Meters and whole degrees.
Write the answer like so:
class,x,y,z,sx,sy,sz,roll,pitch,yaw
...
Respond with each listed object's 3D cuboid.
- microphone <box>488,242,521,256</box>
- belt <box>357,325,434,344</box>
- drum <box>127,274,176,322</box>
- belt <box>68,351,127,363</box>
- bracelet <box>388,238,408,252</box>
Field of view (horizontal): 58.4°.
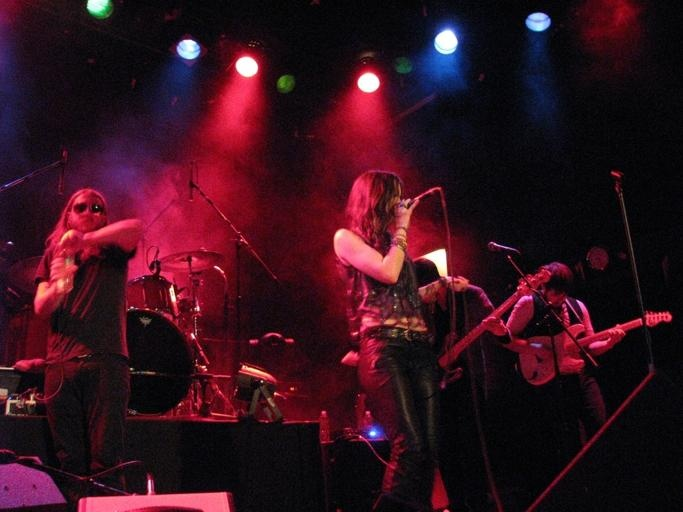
class,x,y,z,sx,sy,sz,roll,pitch,yaw
microphone,1.705,-0.083,6.342,0.449,0.138,0.124,7,13,-44
belt,0.376,0.513,3.981,0.475,0.124,0.152,6,-27,-10
drum,-1.799,0.402,5.922,0.422,0.378,0.425,-17,-18,29
belt,-1.562,0.644,3.915,0.348,0.084,0.075,8,-28,-14
bracelet,0.374,-0.076,4.083,0.093,0.062,0.080,1,-25,30
